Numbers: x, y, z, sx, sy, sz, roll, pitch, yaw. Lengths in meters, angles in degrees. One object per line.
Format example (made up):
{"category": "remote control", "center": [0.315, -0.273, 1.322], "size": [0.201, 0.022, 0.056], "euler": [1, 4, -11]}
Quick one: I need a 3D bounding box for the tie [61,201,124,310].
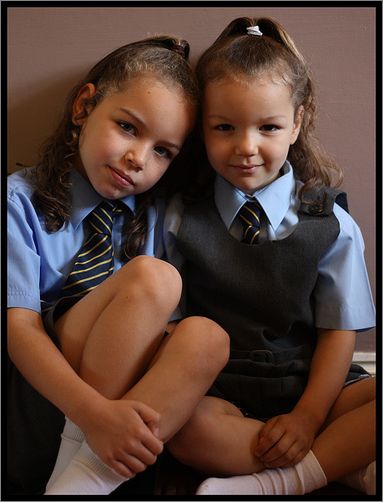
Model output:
{"category": "tie", "center": [-0.187, 0.011, 0.933], "size": [0.074, 0.030, 0.202], "euler": [21, 54, 2]}

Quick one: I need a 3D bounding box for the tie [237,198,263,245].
{"category": "tie", "center": [0.117, -0.057, 0.977], "size": [0.055, 0.076, 0.022], "euler": [-23, -17, 24]}
